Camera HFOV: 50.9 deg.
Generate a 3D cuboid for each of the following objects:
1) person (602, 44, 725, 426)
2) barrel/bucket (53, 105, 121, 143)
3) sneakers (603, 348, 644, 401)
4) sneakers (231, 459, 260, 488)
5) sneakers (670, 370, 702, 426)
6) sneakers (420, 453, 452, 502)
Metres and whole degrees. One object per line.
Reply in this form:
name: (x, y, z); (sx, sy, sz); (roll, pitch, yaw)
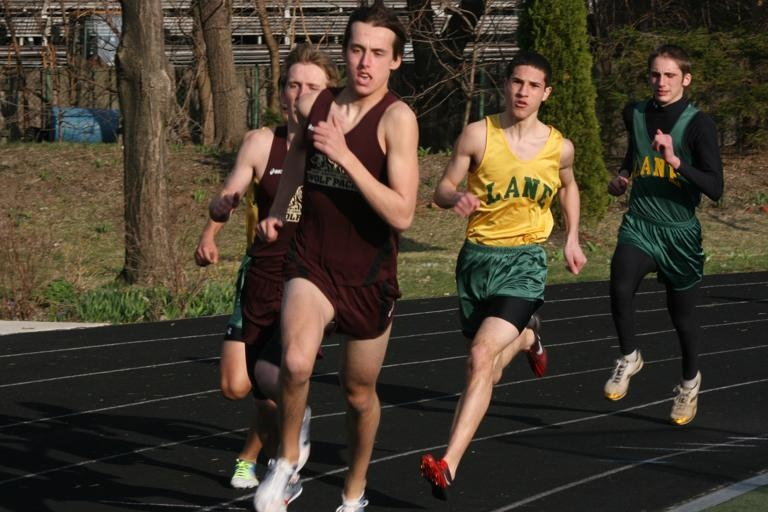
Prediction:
person: (2.235, -0.176, 6.529); (0.852, 2.992, 0.795); (3, 11, 20)
barrel/bucket: (-7.451, -3.339, 20.422); (1.443, 0.861, 0.953); (-4, 12, -20)
sneakers: (2.069, 1.055, 6.967); (0.154, 0.448, 0.191); (33, -2, 34)
sneakers: (-0.970, 1.529, 5.584); (0.110, 0.130, 0.282); (0, -4, 1)
sneakers: (2.421, 1.188, 6.574); (0.172, 0.509, 0.201); (9, -18, 40)
sneakers: (0.311, 1.357, 5.016); (0.128, 0.339, 0.164); (-10, 3, 42)
